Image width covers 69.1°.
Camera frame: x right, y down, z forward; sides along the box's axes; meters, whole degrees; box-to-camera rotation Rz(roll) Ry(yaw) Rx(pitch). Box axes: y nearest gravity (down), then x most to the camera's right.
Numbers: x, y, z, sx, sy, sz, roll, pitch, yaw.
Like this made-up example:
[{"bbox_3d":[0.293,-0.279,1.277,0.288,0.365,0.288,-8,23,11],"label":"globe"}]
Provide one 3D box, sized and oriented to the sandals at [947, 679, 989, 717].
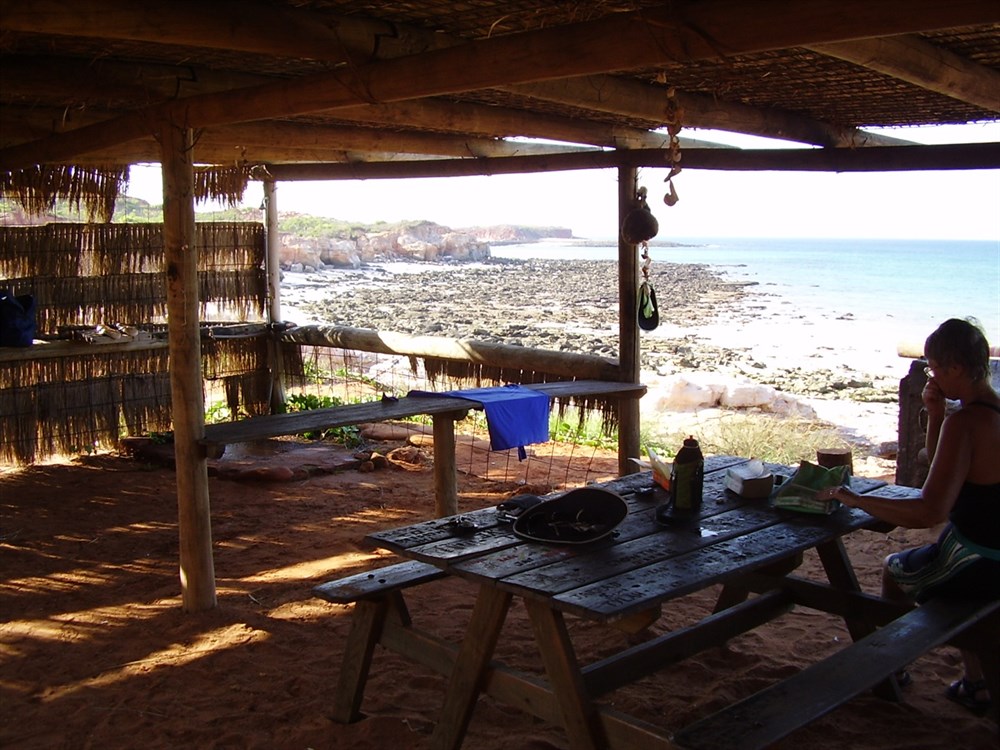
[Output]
[{"bbox_3d":[2.097,1.423,3.242,0.089,0.054,0.146,-9,11,-4],"label":"sandals"}]
